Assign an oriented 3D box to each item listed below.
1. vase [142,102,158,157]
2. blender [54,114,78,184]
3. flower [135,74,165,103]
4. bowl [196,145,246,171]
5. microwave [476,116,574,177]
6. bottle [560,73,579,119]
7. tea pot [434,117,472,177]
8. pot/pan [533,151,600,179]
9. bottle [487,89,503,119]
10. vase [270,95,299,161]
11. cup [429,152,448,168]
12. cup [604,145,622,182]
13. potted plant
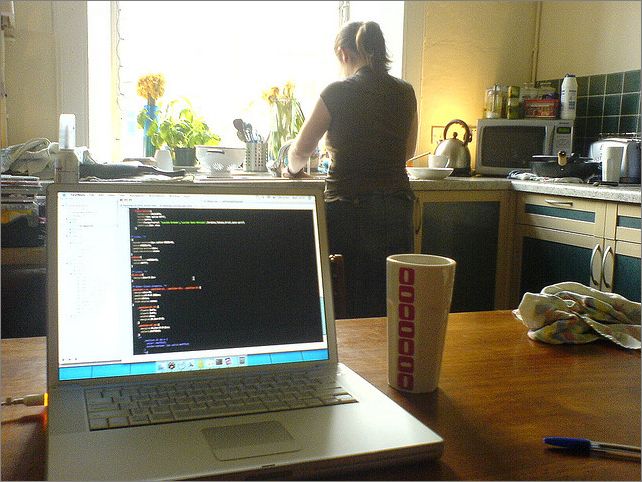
[{"bbox_3d":[-0.981,-0.638,3.079,0.081,0.381,0.074,-23,47,-41],"label":"vase"},{"bbox_3d":[-0.648,-0.236,1.318,0.054,0.160,0.222,-8,12,-26],"label":"blender"},{"bbox_3d":[-0.978,-0.892,3.049,0.149,0.144,0.149,1,1,8],"label":"flower"},{"bbox_3d":[-0.488,-0.432,2.558,0.156,0.081,0.153,0,13,0],"label":"bowl"},{"bbox_3d":[1.169,-0.585,3.104,0.539,0.348,0.347,2,4,20],"label":"microwave"},{"bbox_3d":[1.487,-0.871,3.126,0.084,0.273,0.173,2,11,21],"label":"bottle"},{"bbox_3d":[0.791,-0.577,3.125,0.202,0.310,0.300,10,18,32],"label":"tea pot"},{"bbox_3d":[1.317,-0.413,2.806,0.339,0.148,0.370,4,12,30],"label":"pot/pan"},{"bbox_3d":[1.078,-0.860,3.228,0.104,0.189,0.144,1,11,17],"label":"bottle"},{"bbox_3d":[-0.227,-0.666,3.186,0.167,0.411,0.148,2,-16,-6],"label":"vase"},{"bbox_3d":[0.661,-0.456,2.917,0.073,0.067,0.094,-17,26,-26],"label":"cup"},{"bbox_3d":[1.384,-0.366,2.468,0.094,0.176,0.087,-2,11,0],"label":"cup"},{"bbox_3d":[-0.803,-0.599,3.057,0.398,0.276,0.400,3,7,-14],"label":"potted plant"}]
